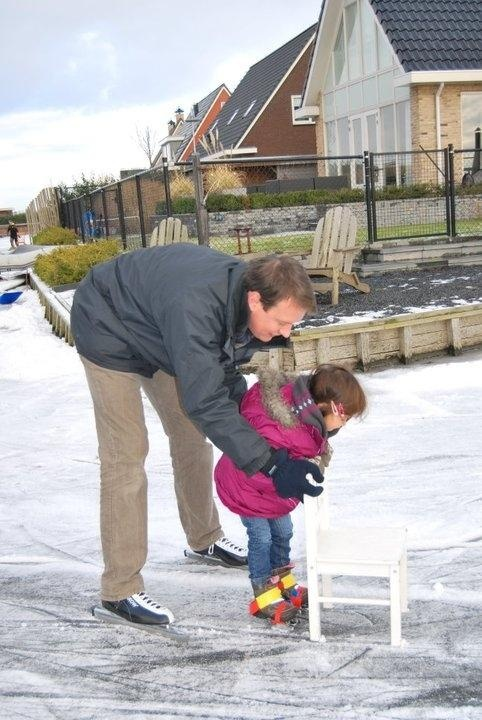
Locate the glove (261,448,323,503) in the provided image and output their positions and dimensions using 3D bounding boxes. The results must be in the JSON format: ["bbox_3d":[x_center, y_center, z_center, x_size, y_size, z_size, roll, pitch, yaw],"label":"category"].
[{"bbox_3d":[0.180,0.395,2.622,0.209,0.157,0.097,41,7,8],"label":"glove"}]

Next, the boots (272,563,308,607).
[{"bbox_3d":[0.207,0.921,2.968,0.224,0.151,0.080,-7,7,38],"label":"boots"}]

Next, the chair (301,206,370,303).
[{"bbox_3d":[1.016,-1.274,8.930,0.918,1.047,0.933,-3,14,17],"label":"chair"}]

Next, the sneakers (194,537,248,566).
[{"bbox_3d":[-0.130,0.918,3.548,0.306,0.128,0.106,1,20,10],"label":"sneakers"}]

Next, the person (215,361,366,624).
[{"bbox_3d":[0.179,0.538,2.933,0.638,0.997,0.478,5,8,31],"label":"person"}]

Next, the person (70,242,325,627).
[{"bbox_3d":[-0.202,0.313,2.878,0.800,1.527,1.048,-8,12,-22],"label":"person"}]

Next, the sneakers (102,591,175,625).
[{"bbox_3d":[-0.385,0.970,2.877,0.297,0.119,0.109,5,4,21],"label":"sneakers"}]
